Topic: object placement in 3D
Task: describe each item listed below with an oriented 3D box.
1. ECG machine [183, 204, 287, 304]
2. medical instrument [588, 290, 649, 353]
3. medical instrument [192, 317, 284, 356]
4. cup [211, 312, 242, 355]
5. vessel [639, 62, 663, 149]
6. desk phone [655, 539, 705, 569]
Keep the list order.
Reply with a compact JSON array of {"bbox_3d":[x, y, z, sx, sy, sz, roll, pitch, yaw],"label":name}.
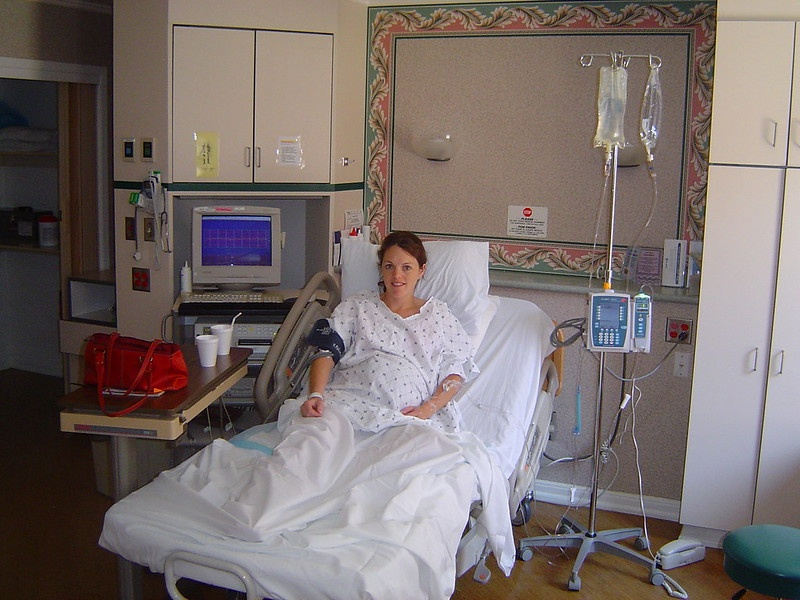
[{"bbox_3d":[-0.949,-0.273,3.761,0.488,0.513,0.206,0,10,-18],"label":"ECG machine"},{"bbox_3d":[0.985,0.103,2.905,0.272,0.280,0.172,3,-3,7],"label":"medical instrument"},{"bbox_3d":[-0.830,0.234,3.664,0.353,0.218,0.207,-2,10,-4],"label":"medical instrument"},{"bbox_3d":[-0.781,0.187,3.009,0.169,0.179,0.113,0,3,-6],"label":"cup"},{"bbox_3d":[1.158,-0.895,2.971,0.086,0.435,0.262,3,9,20],"label":"vessel"},{"bbox_3d":[1.336,1.201,3.117,0.309,0.135,0.099,-2,2,-26],"label":"desk phone"}]
